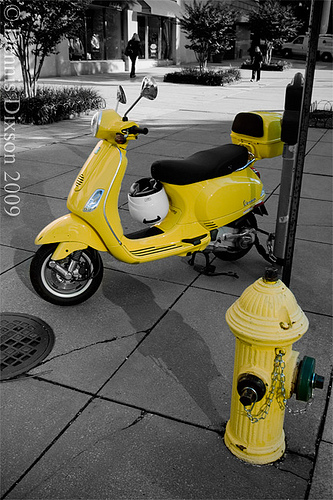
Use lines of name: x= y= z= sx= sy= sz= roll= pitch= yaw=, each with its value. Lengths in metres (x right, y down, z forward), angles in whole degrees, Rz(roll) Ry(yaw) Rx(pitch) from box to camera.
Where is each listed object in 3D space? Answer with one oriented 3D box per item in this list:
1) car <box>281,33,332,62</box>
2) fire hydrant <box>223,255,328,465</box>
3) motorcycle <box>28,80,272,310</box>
car: x=15.901 y=-22.203 z=41.974 sx=3.894 sy=2.504 sz=7.653 roll=-4 pitch=21 yaw=-14
fire hydrant: x=0.446 y=0.496 z=1.602 sx=0.379 sy=0.870 sz=0.287 roll=-4 pitch=21 yaw=-13
motorcycle: x=-0.090 y=-0.518 z=3.291 sx=2.228 sy=1.595 sz=0.875 roll=-11 pitch=20 yaw=-25
